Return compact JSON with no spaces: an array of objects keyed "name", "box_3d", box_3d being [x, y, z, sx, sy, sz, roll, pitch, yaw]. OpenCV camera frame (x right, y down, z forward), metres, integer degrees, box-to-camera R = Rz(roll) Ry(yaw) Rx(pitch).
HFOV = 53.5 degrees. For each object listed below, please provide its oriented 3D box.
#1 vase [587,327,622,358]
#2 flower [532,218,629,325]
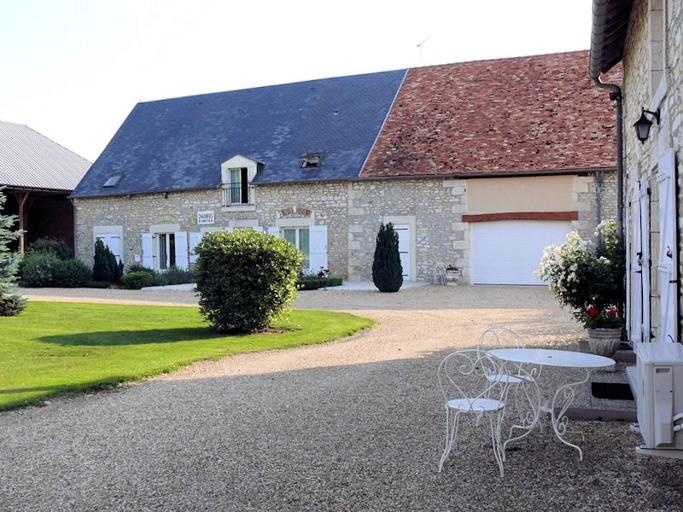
[{"name":"vase","box_3d":[3.747,1.212,9.635,0.420,0.340,0.425,1,-5,-3]},{"name":"flower","box_3d":[4.084,0.297,11.110,1.654,1.361,1.153,-5,7,-41]}]
